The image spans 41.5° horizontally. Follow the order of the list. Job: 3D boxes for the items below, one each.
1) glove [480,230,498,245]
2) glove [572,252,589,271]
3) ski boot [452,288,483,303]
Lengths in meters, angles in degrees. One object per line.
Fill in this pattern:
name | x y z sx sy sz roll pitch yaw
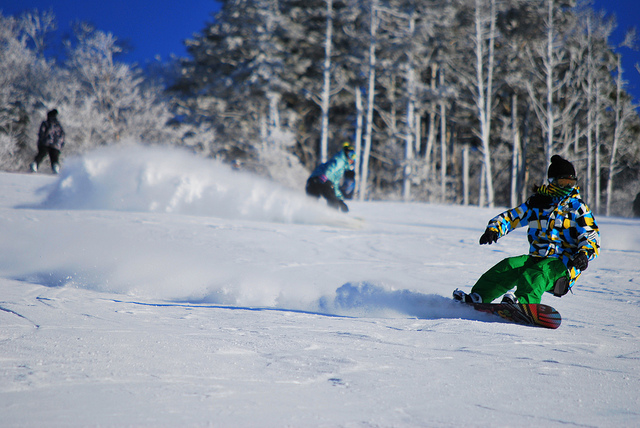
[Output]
glove | 4.820 0.663 24.114 0.488 0.370 0.408 7 -1 8
glove | 7.320 1.339 23.647 0.468 0.462 0.214 43 -20 -17
ski boot | 4.192 2.368 24.110 0.492 0.212 0.381 14 6 4
